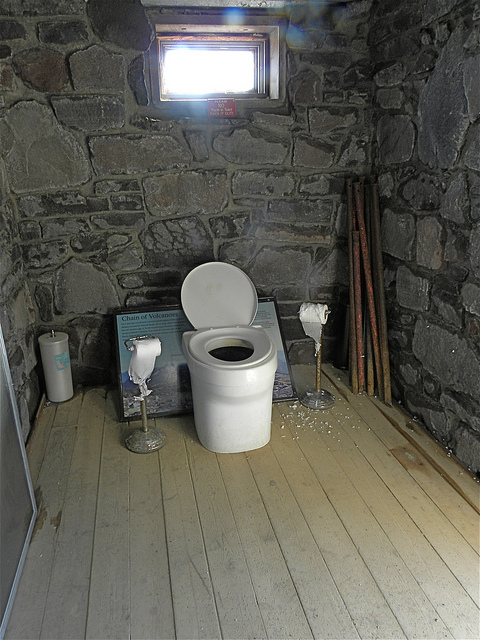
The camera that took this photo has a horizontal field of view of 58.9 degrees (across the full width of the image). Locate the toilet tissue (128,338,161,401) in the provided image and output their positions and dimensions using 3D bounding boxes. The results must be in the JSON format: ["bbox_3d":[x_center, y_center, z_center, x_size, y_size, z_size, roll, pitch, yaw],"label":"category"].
[{"bbox_3d":[-0.392,0.178,1.803,0.142,0.107,0.235,-8,21,-15],"label":"toilet tissue"}]

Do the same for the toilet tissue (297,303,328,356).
[{"bbox_3d":[0.396,0.050,2.277,0.158,0.288,0.172,-2,13,-7],"label":"toilet tissue"}]

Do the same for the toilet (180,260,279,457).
[{"bbox_3d":[-0.072,0.155,1.996,0.445,0.781,0.654,-3,13,-9],"label":"toilet"}]
